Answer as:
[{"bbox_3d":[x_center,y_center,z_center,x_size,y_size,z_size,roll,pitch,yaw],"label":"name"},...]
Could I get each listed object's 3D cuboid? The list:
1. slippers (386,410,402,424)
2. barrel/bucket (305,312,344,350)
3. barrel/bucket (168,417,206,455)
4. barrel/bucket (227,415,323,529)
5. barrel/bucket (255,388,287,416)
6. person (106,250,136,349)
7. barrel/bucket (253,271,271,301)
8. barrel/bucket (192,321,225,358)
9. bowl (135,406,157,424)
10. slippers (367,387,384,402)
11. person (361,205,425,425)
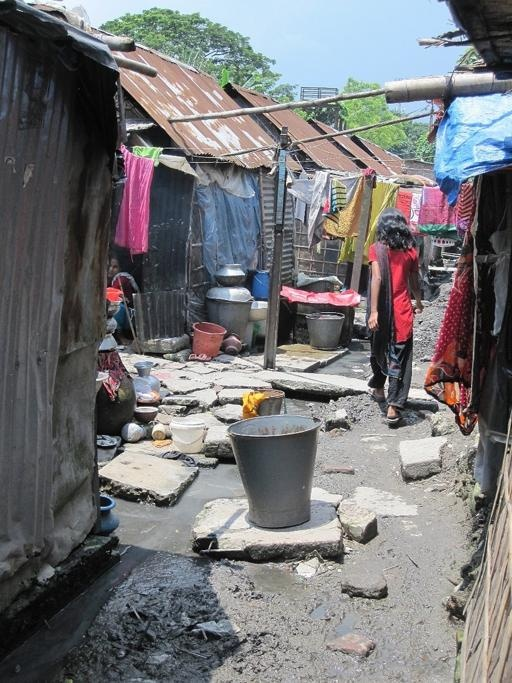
[{"bbox_3d":[1.473,0.793,6.288,0.157,0.181,0.271,5,8,18],"label":"slippers"},{"bbox_3d":[1.276,-0.210,11.169,0.731,0.533,0.674,0,5,0],"label":"barrel/bucket"},{"bbox_3d":[-0.669,0.913,5.687,0.341,0.260,0.329,2,5,0],"label":"barrel/bucket"},{"bbox_3d":[0.100,0.870,3.895,0.565,0.693,0.590,2,8,0],"label":"barrel/bucket"},{"bbox_3d":[0.152,0.620,6.074,0.264,0.188,0.254,0,-1,0],"label":"barrel/bucket"},{"bbox_3d":[-2.115,-0.665,9.203,0.426,1.494,0.958,0,8,-14],"label":"person"},{"bbox_3d":[0.071,-1.142,11.916,0.295,0.583,0.447,1,8,-9],"label":"barrel/bucket"},{"bbox_3d":[-0.817,-0.019,9.721,0.595,0.438,0.542,8,15,-2],"label":"barrel/bucket"},{"bbox_3d":[-1.178,0.783,6.150,0.228,0.157,0.136,1,8,-10],"label":"bowl"},{"bbox_3d":[1.409,0.610,6.957,0.091,0.103,0.263,2,14,-12],"label":"slippers"},{"bbox_3d":[1.462,-0.273,6.331,0.578,2.303,0.630,4,9,15],"label":"person"}]
